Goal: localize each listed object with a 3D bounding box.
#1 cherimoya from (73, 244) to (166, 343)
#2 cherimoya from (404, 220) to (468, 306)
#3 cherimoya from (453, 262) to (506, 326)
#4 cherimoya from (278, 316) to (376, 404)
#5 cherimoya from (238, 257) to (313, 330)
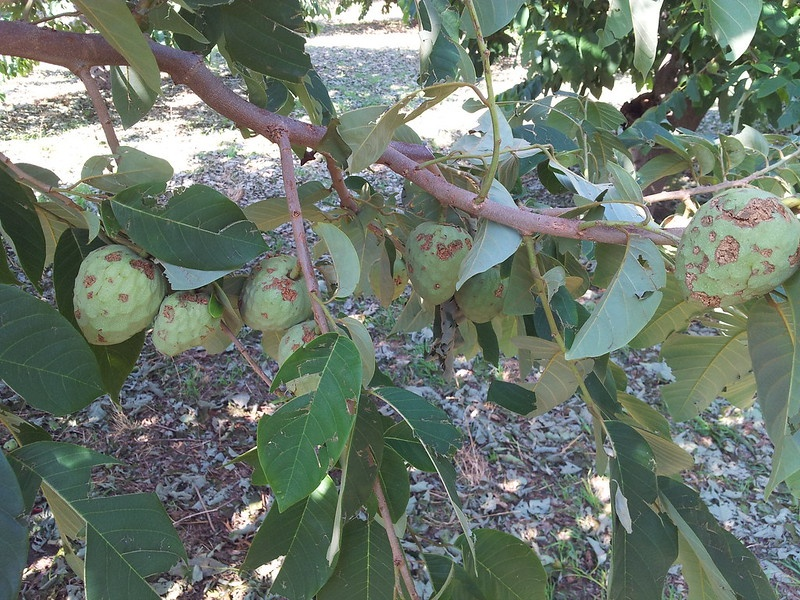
[{"bbox_3d":[-0.671,0.009,1.634,0.185,0.180,0.211,3,63,-9],"label":"cherimoya"},{"bbox_3d":[0.115,-0.107,1.895,0.185,0.217,0.187,-9,6,-44],"label":"cherimoya"},{"bbox_3d":[0.202,-0.013,1.942,0.124,0.153,0.128,-27,56,-11],"label":"cherimoya"},{"bbox_3d":[-0.179,0.106,1.525,0.181,0.181,0.178,-23,79,-20],"label":"cherimoya"},{"bbox_3d":[-0.303,0.004,1.682,0.161,0.231,0.149,-8,36,-20],"label":"cherimoya"}]
